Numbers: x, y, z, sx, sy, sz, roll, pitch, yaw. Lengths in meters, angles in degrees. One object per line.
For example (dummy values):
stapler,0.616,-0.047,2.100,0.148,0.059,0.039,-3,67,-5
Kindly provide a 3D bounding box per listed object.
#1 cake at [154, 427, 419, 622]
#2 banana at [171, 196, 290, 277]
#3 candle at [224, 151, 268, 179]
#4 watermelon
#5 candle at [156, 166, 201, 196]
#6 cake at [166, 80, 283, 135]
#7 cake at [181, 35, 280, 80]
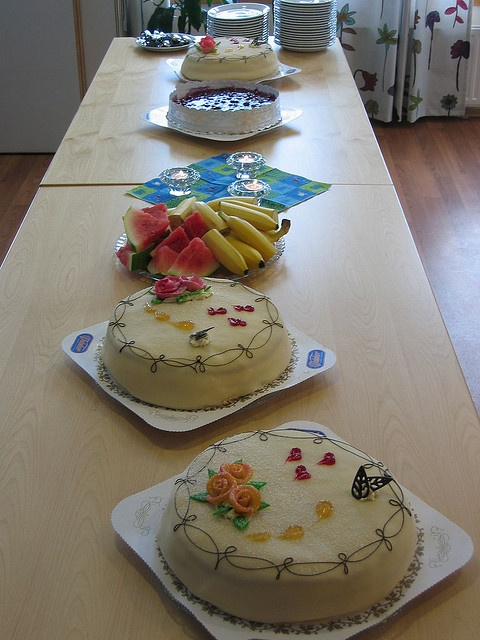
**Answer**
cake,0.062,0.236,0.610,0.297,0.084,0.232,7,29,15
banana,-0.032,-0.225,1.287,0.264,0.095,0.208,28,42,21
candle,0.020,-0.535,1.731,0.114,0.068,0.111,-1,40,-2
watermelon,-0.176,-0.187,1.247,0.175,0.176,0.267,27,41,35
candle,-0.192,-0.445,1.622,0.111,0.060,0.109,-2,38,-4
cake,-0.069,-0.883,2.102,0.416,0.099,0.414,21,43,23
cake,-0.035,-1.241,2.399,0.444,0.106,0.447,27,49,29
